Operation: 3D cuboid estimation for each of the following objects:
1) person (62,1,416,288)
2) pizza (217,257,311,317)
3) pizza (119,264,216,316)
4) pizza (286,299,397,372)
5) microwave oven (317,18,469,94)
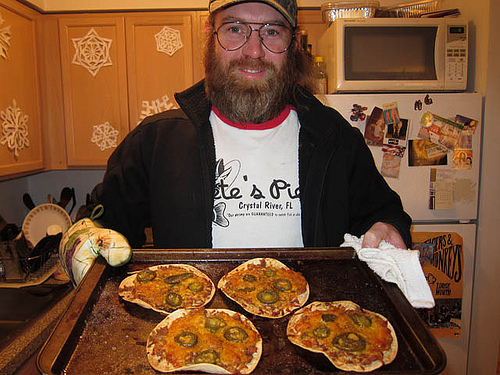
[{"bbox_3d":[0.014,-0.295,2.072,1.669,1.588,1.019,-2,13,-8],"label":"person"},{"bbox_3d":[0.056,0.379,1.565,0.387,0.423,0.044,14,41,3],"label":"pizza"},{"bbox_3d":[-0.325,0.399,1.534,0.355,0.115,0.211,0,11,10],"label":"pizza"},{"bbox_3d":[0.328,0.518,1.385,0.373,0.121,0.234,3,12,24],"label":"pizza"},{"bbox_3d":[0.967,-0.869,2.699,0.676,0.386,0.518,0,3,0],"label":"microwave oven"}]
